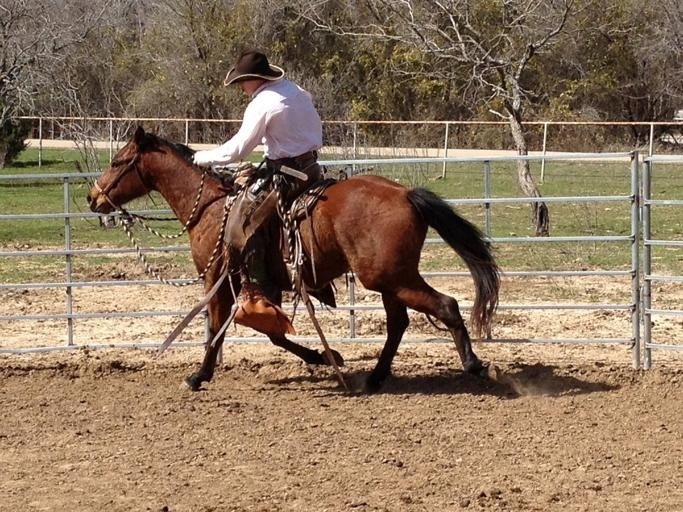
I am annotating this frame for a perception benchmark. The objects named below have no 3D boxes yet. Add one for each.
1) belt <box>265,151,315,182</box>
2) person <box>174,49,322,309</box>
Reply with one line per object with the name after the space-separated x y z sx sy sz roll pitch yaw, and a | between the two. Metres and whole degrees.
-0.553 -1.020 12.320 0.454 0.258 0.344 0 1 22 | belt
-0.834 -0.869 12.344 1.291 2.925 0.466 -4 6 -2 | person
